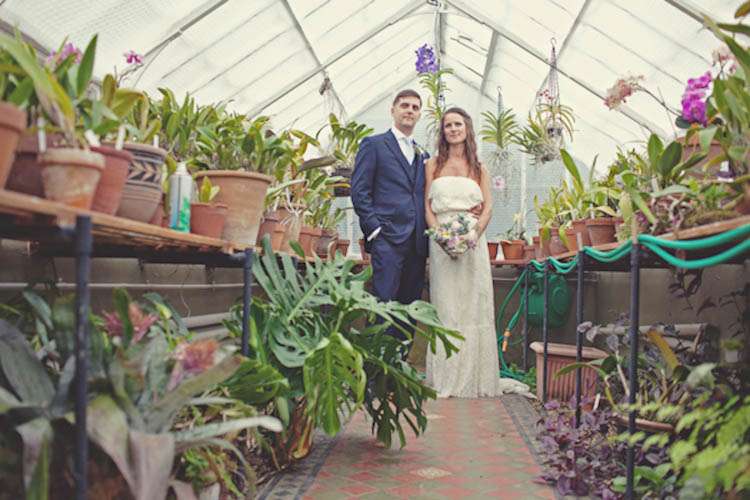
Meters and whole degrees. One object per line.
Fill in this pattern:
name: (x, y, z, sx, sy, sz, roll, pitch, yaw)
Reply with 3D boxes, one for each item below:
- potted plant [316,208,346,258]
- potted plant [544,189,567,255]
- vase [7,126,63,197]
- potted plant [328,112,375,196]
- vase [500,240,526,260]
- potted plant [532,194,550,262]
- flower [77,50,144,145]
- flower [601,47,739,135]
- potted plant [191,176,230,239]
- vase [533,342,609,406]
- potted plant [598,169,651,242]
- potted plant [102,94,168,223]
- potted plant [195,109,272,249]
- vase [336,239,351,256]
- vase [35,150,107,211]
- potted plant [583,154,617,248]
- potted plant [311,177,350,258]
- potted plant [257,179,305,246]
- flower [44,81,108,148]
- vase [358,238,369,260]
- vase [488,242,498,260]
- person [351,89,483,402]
potted plant: (-0.338, -0.146, 4.645, 0.283, 0.315, 0.189, -10, -12, 39)
potted plant: (1.294, -0.163, 4.506, 0.186, 0.413, 0.194, -2, 2, -35)
vase: (-1.195, -0.289, 2.176, 0.190, 0.205, 0.200, 6, -1, -9)
potted plant: (-0.253, -0.696, 4.881, 0.370, 0.622, 0.418, 20, 32, 31)
vase: (1.202, -0.002, 5.539, 0.163, 0.138, 0.173, 1, -12, 4)
potted plant: (1.250, -0.149, 4.734, 0.145, 0.472, 0.174, -5, -12, 36)
flower: (-0.955, -0.540, 2.300, 0.203, 0.380, 0.156, 11, -14, -10)
flower: (1.467, -0.826, 3.118, 0.352, 0.376, 0.666, -29, 21, -21)
potted plant: (-0.770, -0.190, 2.935, 0.156, 0.262, 0.170, 0, 0, -38)
vase: (1.166, 0.757, 3.811, 0.511, 0.465, 0.467, 0, -3, 16)
potted plant: (1.222, -0.227, 3.045, 0.323, 0.381, 0.364, -3, 2, 17)
potted plant: (-0.961, -0.408, 2.530, 0.259, 0.539, 0.236, 11, 0, -24)
potted plant: (-0.664, -0.357, 3.178, 0.384, 0.591, 0.355, 5, -12, 13)
vase: (-0.240, -0.030, 5.171, 0.131, 0.177, 0.161, 0, 2, 10)
vase: (-1.033, -0.231, 2.204, 0.185, 0.220, 0.197, -2, -3, 29)
potted plant: (1.299, -0.237, 3.596, 0.203, 0.421, 0.297, 9, 20, 23)
potted plant: (-0.339, -0.226, 4.735, 0.179, 0.350, 0.235, -14, 38, -44)
potted plant: (-0.549, -0.212, 3.710, 0.357, 0.298, 0.344, 9, -7, -41)
flower: (-0.962, -0.488, 2.118, 0.196, 0.240, 0.230, -3, -23, -14)
vase: (-0.099, 0.002, 5.635, 0.151, 0.192, 0.159, 0, -5, 0)
vase: (1.018, 0.006, 5.521, 0.115, 0.129, 0.111, 8, 14, 33)
person: (0.328, -0.027, 4.314, 1.055, 2.072, 0.386, -1, 1, -25)
